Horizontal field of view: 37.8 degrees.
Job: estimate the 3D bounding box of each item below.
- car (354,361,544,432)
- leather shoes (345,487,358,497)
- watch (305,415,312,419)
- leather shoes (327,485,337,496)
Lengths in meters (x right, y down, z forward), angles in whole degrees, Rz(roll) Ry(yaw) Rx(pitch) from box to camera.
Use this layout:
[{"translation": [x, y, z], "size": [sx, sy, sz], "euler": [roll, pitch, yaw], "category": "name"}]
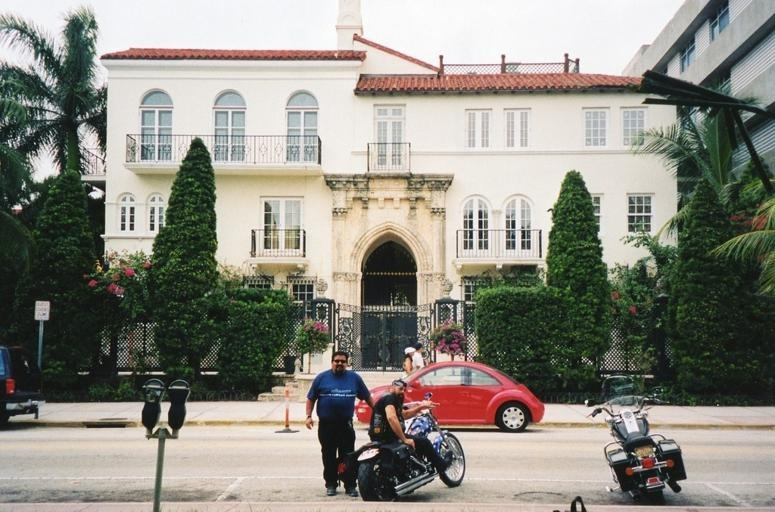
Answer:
[{"translation": [2.462, 5.138, 41.020], "size": [6.614, 2.650, 2.668], "euler": [0, -1, 0], "category": "car"}, {"translation": [-1.150, 7.519, 36.088], "size": [0.430, 0.215, 0.206], "euler": [-1, 0, -4], "category": "leather shoes"}, {"translation": [-2.486, 5.081, 35.942], "size": [0.113, 0.091, 0.119], "euler": [-1, -3, 6], "category": "watch"}, {"translation": [-1.772, 7.448, 36.096], "size": [0.377, 0.286, 0.234], "euler": [0, -9, -9], "category": "leather shoes"}]
